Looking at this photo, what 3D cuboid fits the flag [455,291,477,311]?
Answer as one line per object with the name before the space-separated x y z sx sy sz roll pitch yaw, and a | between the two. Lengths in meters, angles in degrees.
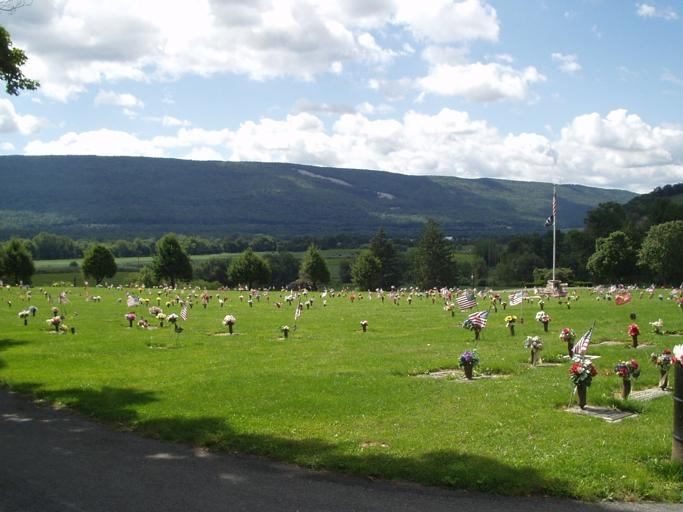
flag | 10.656 4.042 78.400 1.318 1.902 3.166 1 15 6
